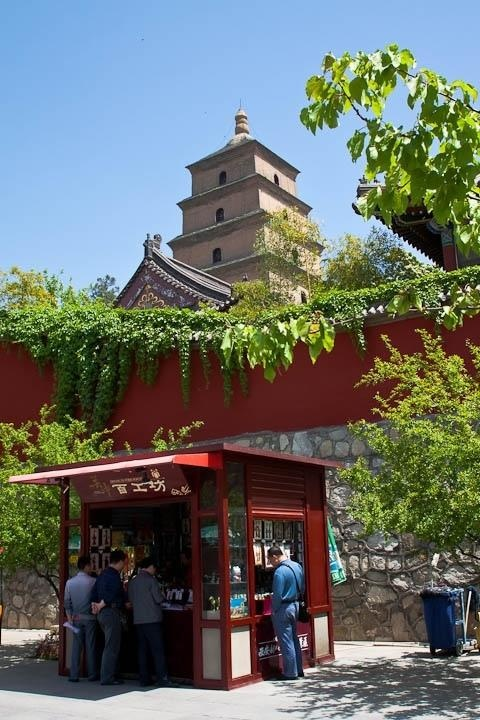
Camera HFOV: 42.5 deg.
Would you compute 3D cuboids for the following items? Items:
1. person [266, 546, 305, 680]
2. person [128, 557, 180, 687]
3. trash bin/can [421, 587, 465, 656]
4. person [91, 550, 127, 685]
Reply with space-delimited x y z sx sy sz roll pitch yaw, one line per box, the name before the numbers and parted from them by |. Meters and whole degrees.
person | 0.536 2.906 7.135 0.379 1.459 0.621 -6 -15 10
person | -1.064 3.008 7.162 0.450 1.363 0.366 0 -15 -10
trash bin/can | 2.681 3.445 8.236 0.499 0.780 0.540 -13 -21 33
person | -1.565 3.033 7.347 0.405 1.467 0.477 0 -15 -11
